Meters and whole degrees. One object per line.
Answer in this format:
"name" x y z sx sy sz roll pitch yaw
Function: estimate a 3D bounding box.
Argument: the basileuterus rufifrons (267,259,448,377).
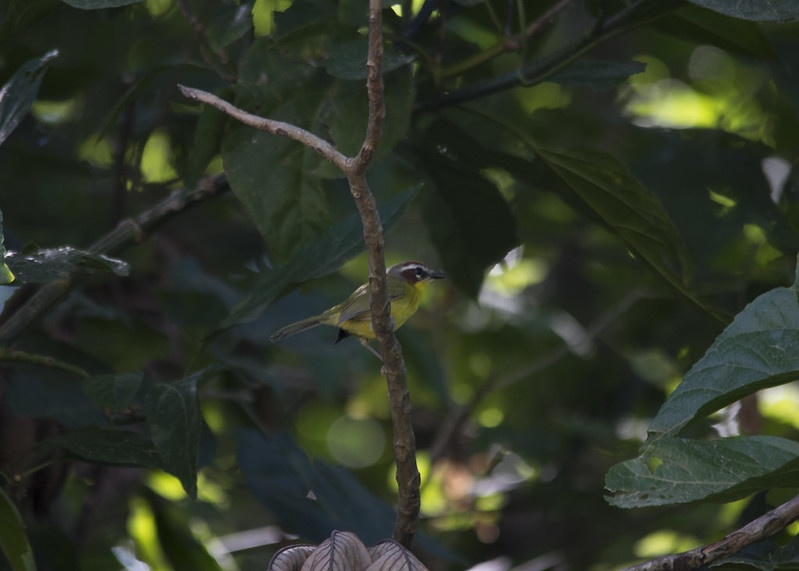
"basileuterus rufifrons" -0.083 0.052 2.300 0.334 0.187 0.105 -4 -15 -7
